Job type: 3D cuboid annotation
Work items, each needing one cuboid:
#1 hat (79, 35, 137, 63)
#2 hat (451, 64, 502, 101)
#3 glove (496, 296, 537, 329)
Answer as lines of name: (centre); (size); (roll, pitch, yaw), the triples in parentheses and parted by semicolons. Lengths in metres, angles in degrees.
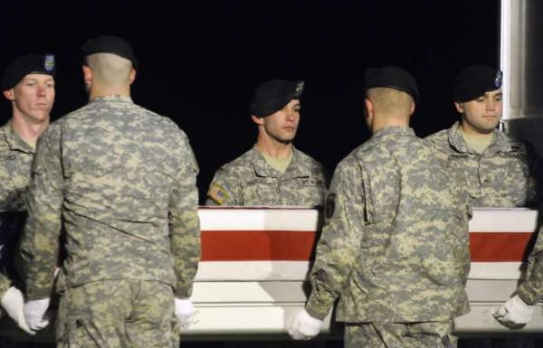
hat: (-1.263, -0.955, 7.336); (0.363, 0.097, 0.226); (4, 1, -19)
hat: (1.792, -0.811, 8.479); (0.414, 0.195, 0.416); (2, 18, 43)
glove: (1.935, 1.111, 7.672); (0.269, 0.121, 0.310); (26, -25, -17)
